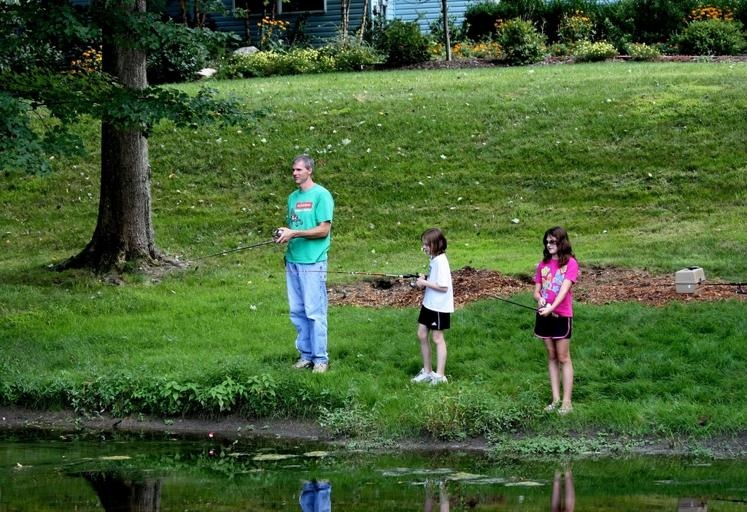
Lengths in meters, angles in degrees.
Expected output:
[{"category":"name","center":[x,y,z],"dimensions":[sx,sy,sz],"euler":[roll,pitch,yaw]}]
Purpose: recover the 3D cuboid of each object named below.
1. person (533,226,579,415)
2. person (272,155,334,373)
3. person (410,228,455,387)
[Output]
[{"category":"person","center":[3.047,0.965,28.510],"dimensions":[0.733,3.046,0.672],"euler":[1,0,7]},{"category":"person","center":[-1.145,0.030,29.353],"dimensions":[0.874,3.679,0.608],"euler":[0,7,6]},{"category":"person","center":[1.023,0.742,28.965],"dimensions":[0.671,2.588,0.497],"euler":[0,7,12]}]
